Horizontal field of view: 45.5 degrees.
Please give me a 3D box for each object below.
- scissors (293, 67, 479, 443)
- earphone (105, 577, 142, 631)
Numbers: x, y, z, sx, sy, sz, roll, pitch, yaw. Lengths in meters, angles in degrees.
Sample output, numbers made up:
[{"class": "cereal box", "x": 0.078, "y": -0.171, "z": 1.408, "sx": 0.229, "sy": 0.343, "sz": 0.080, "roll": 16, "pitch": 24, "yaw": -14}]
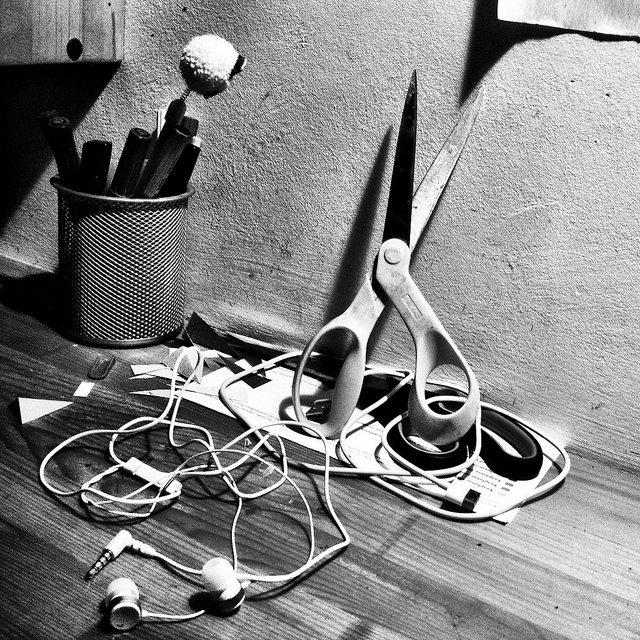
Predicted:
[{"class": "scissors", "x": 0.074, "y": -0.059, "z": 0.686, "sx": 0.142, "sy": 0.399, "sz": 0.031, "roll": -2, "pitch": -31, "yaw": 20}, {"class": "earphone", "x": -0.122, "y": 0.174, "z": 0.477, "sx": 0.022, "sy": 0.028, "sz": 0.034, "roll": 4, "pitch": 12, "yaw": -16}]
